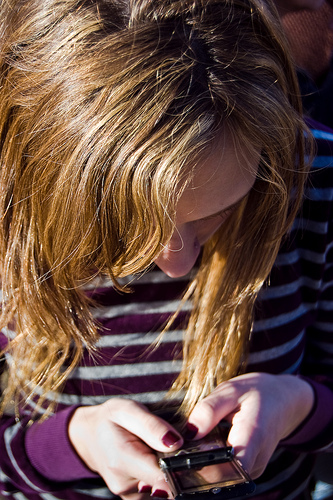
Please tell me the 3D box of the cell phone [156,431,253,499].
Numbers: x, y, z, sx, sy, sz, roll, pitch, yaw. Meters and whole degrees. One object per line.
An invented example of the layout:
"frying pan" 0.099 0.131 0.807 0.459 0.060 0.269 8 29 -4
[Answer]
"cell phone" 0.066 0.393 0.880 0.133 0.036 0.102 1 20 -15
